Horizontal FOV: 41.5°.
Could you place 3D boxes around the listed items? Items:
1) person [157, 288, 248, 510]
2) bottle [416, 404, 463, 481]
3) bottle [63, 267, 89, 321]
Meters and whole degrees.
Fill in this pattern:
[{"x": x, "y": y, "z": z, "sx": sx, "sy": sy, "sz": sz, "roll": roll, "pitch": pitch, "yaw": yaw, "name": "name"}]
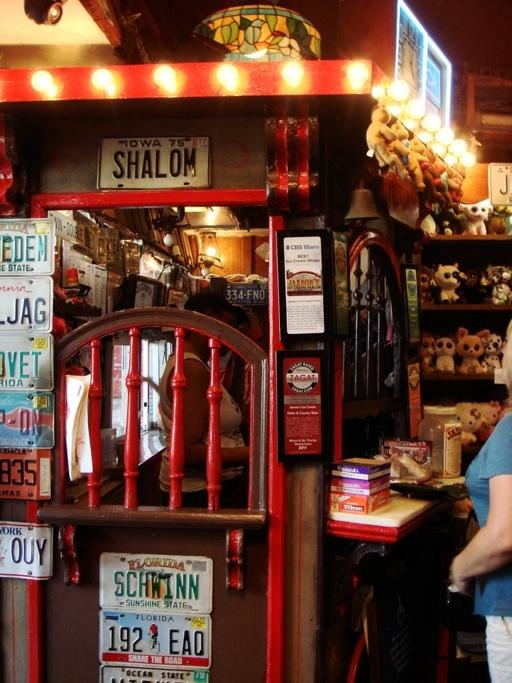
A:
[{"x": -0.214, "y": 0.220, "z": 2.651, "sx": 0.354, "sy": 0.927, "sz": 0.951, "roll": -2, "pitch": -4, "yaw": -2, "name": "person"}, {"x": 0.767, "y": 0.410, "z": 2.823, "sx": 0.181, "sy": 0.287, "sz": 0.182, "roll": 0, "pitch": 2, "yaw": 0, "name": "bottle"}, {"x": -0.793, "y": -0.226, "z": 2.923, "sx": 0.094, "sy": 0.167, "sz": 0.174, "roll": -2, "pitch": 18, "yaw": -12, "name": "bottle"}]
